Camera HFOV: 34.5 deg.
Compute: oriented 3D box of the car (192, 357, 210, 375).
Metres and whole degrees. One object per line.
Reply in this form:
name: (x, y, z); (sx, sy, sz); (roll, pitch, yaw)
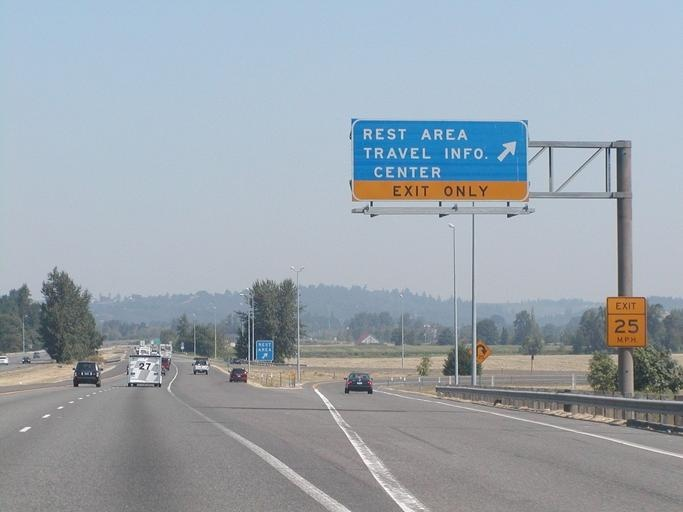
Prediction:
car: (-15.073, 11.670, 117.356); (1.483, 1.689, 2.655); (1, 0, -7)
